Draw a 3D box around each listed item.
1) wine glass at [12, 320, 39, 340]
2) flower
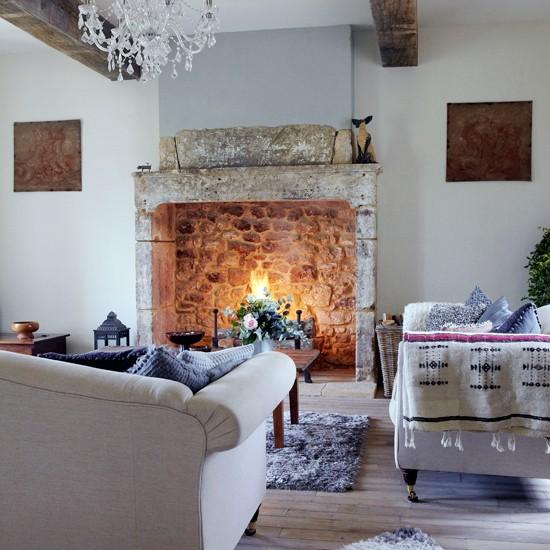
[{"bbox_3d":[-2.382,0.517,6.181,0.218,0.163,0.285,0,5,1],"label":"wine glass"},{"bbox_3d":[-0.063,0.341,4.999,0.556,0.499,0.572,3,-1,-8],"label":"flower"}]
